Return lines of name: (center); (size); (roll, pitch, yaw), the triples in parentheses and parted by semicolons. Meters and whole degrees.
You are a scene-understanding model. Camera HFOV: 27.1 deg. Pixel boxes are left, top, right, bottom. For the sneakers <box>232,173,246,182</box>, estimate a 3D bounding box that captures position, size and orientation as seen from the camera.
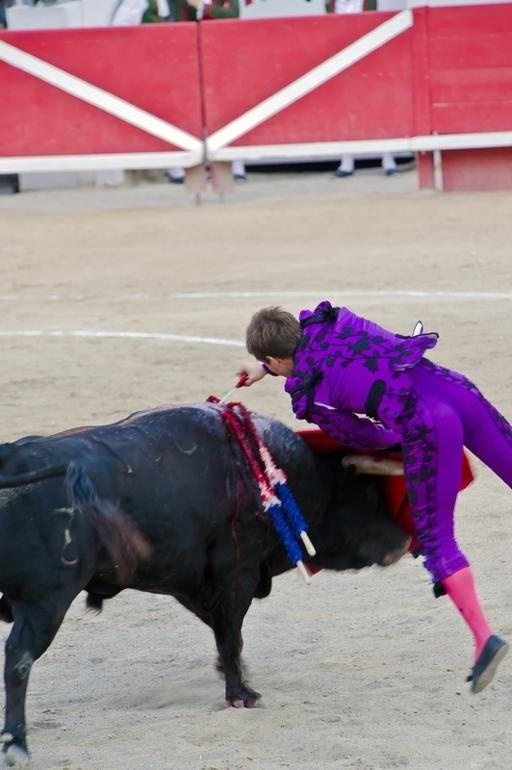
sneakers: (-0.165, -1.879, 9.707); (0.136, 0.078, 0.167); (0, -2, -2)
